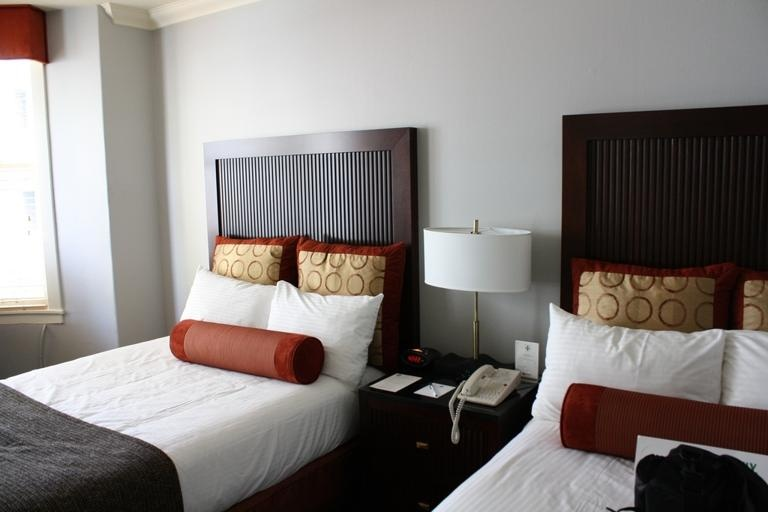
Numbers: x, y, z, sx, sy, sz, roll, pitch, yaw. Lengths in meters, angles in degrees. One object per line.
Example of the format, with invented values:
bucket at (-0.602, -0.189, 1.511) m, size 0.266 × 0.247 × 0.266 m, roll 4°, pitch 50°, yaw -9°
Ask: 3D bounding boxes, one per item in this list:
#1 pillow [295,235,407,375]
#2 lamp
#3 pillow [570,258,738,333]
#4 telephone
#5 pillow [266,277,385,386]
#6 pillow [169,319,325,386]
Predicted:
pillow at (-0.297, 0.326, 3.563) m, size 0.763 × 0.836 × 0.311 m, roll 7°, pitch -25°, yaw -9°
lamp at (0.594, 0.246, 3.257) m, size 0.842 × 1.183 × 0.420 m, roll 3°, pitch 8°, yaw 22°
pillow at (1.412, 0.289, 2.940) m, size 0.790 × 0.540 × 0.253 m, roll 1°, pitch -14°, yaw 32°
telephone at (0.506, 0.773, 2.900) m, size 0.544 × 0.129 × 0.278 m, roll -29°, pitch 21°, yaw -37°
pillow at (-0.402, 0.397, 3.372) m, size 0.659 × 0.479 × 0.242 m, roll 13°, pitch 22°, yaw 11°
pillow at (-0.829, 0.521, 3.296) m, size 1.138 × 0.366 × 0.351 m, roll 4°, pitch 17°, yaw 38°
